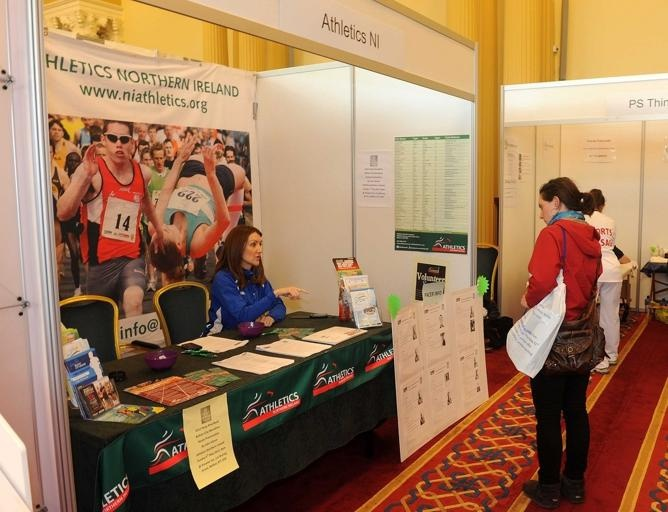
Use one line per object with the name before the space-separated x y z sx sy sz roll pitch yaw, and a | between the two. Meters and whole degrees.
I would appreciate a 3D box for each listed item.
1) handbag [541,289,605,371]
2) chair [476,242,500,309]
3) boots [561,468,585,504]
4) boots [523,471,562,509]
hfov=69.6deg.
handbag | 1.232 0.397 2.431 0.374 0.361 0.134 -4 7 -31
chair | 1.719 0.208 5.396 0.226 0.638 0.450 1 6 19
boots | 1.259 1.241 2.607 0.064 0.132 0.202 0 4 7
boots | 1.110 1.253 2.610 0.094 0.135 0.205 -3 10 -12
